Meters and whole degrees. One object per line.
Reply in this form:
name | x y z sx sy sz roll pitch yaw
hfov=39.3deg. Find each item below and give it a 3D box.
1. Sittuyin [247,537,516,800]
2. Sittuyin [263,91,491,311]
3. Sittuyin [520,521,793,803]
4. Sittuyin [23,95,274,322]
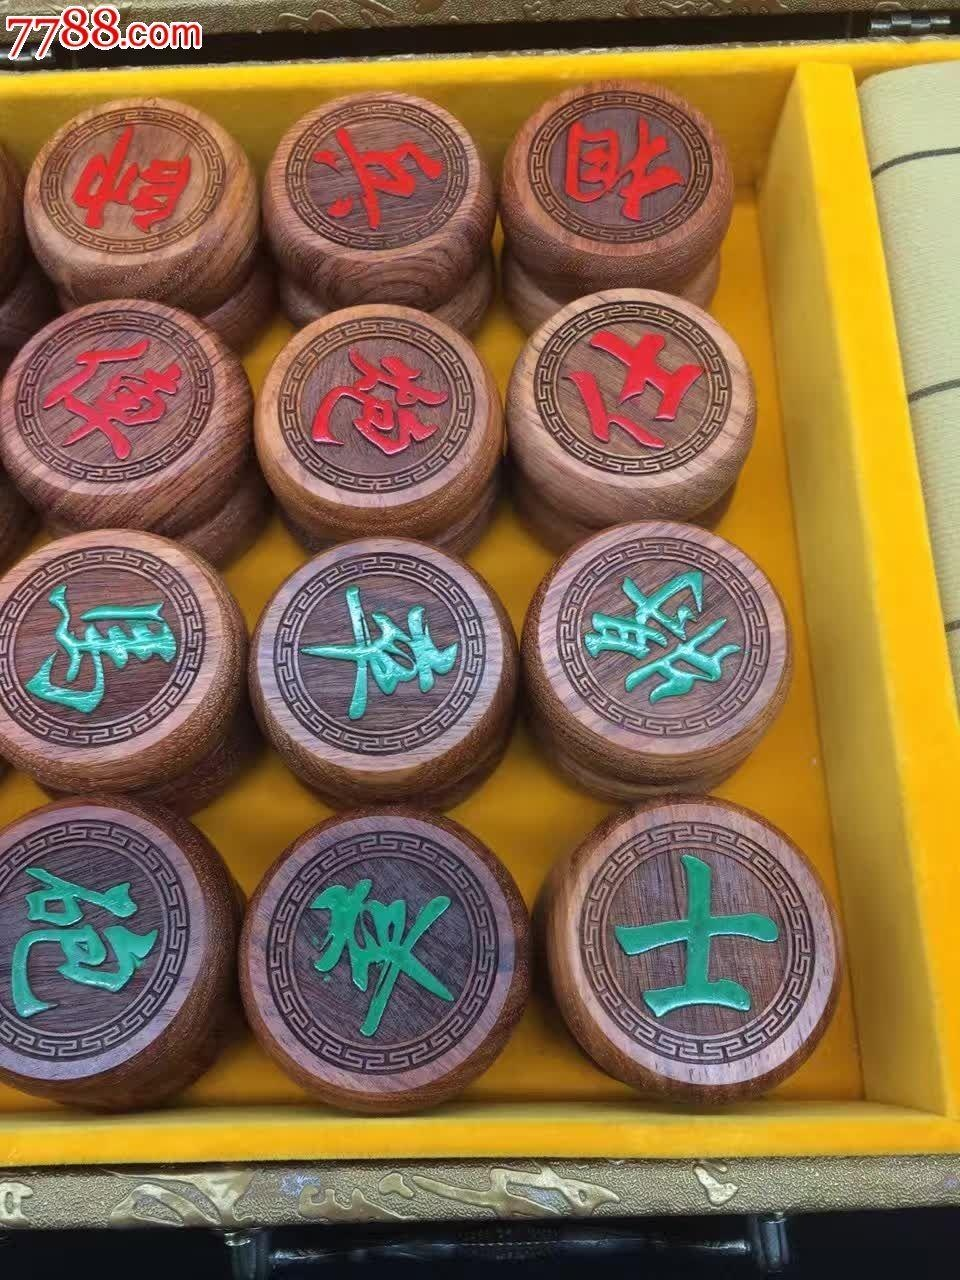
Sittuyin | -0.127 0.045 1.680 0.385 0.206 0.288 -2 79 -1
Sittuyin | -0.152 -0.646 2.092 0.401 0.213 0.300 -5 85 -2
Sittuyin | 0.215 0.039 1.765 0.405 0.263 0.304 -2 79 2
Sittuyin | -0.492 -0.679 2.068 0.362 0.196 0.274 10 90 5
